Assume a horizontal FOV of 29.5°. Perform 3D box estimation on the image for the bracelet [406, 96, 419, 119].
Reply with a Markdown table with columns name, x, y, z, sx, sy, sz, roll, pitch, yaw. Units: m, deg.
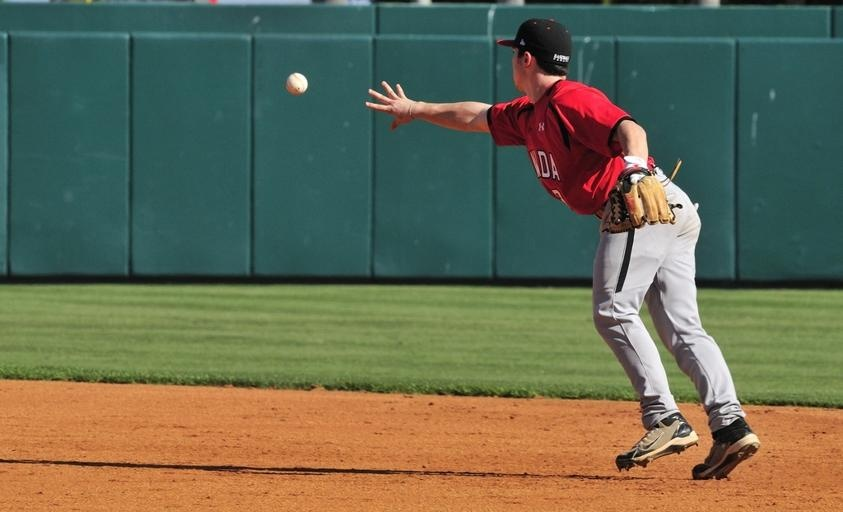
| name | x | y | z | sx | sy | sz | roll | pitch | yaw |
| --- | --- | --- | --- | --- | --- | --- | --- | --- | --- |
| bracelet | -0.089 | -1.631 | 17.612 | 0.083 | 0.205 | 0.179 | 3 | -22 | -12 |

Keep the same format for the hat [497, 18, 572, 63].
| name | x | y | z | sx | sy | sz | roll | pitch | yaw |
| --- | --- | --- | --- | --- | --- | --- | --- | --- | --- |
| hat | 1.220 | -2.300 | 16.976 | 0.603 | 0.293 | 0.418 | 24 | 22 | 14 |
